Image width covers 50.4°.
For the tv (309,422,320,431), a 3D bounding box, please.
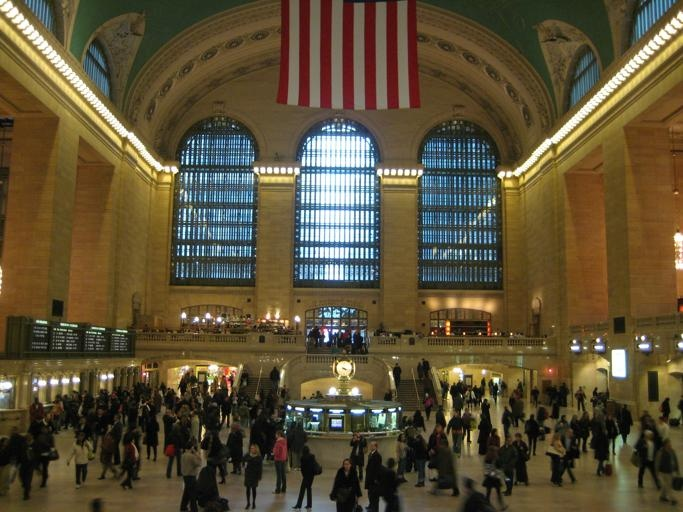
[{"bbox_3d":[-0.857,5.351,22.957,0.287,0.402,0.296,0,-2,7],"label":"tv"}]
